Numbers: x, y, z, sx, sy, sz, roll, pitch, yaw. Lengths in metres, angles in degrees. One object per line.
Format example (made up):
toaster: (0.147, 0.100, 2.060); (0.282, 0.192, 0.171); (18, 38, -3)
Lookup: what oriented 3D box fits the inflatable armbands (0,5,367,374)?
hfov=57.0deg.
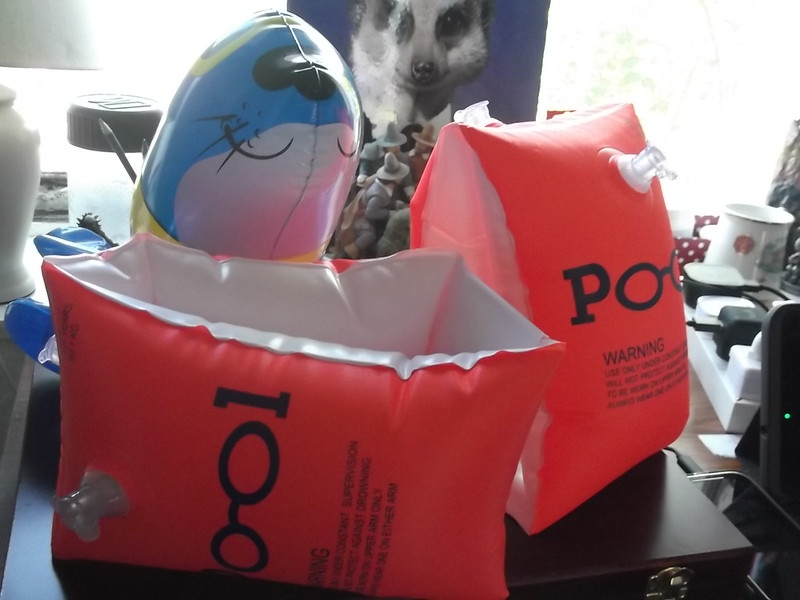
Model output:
inflatable armbands: (-0.304, -0.099, 0.999); (0.266, 0.583, 0.262); (21, 19, -40)

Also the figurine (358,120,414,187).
figurine: (-0.029, -0.250, 1.300); (0.070, 0.114, 0.044); (10, -17, 0)

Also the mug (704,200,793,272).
mug: (0.645, -0.111, 1.408); (0.120, 0.138, 0.122); (-3, 25, -28)

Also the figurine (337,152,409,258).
figurine: (-0.063, -0.144, 1.261); (0.067, 0.187, 0.062); (9, -7, -14)
